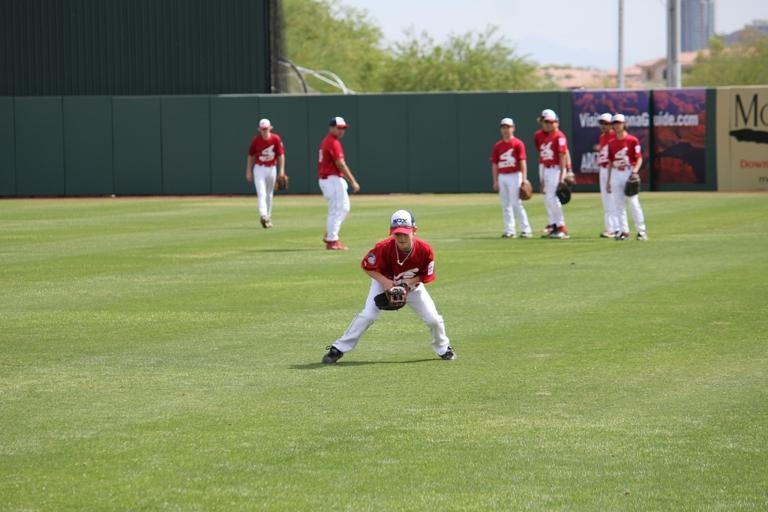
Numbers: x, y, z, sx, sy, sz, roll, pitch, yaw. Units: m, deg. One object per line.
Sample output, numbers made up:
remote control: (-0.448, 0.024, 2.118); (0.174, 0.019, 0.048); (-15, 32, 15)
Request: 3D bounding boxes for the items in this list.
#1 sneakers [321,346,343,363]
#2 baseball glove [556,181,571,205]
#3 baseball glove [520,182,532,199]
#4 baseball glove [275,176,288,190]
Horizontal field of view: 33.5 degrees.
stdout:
sneakers: (-0.688, 1.250, 16.319); (0.171, 0.174, 0.293); (-1, 13, -24)
baseball glove: (3.478, -1.219, 24.700); (0.162, 0.357, 0.344); (0, 27, 12)
baseball glove: (2.754, -1.279, 24.742); (0.293, 0.296, 0.334); (11, -5, 4)
baseball glove: (-2.022, -1.445, 25.432); (0.292, 0.219, 0.225); (2, 5, -1)
